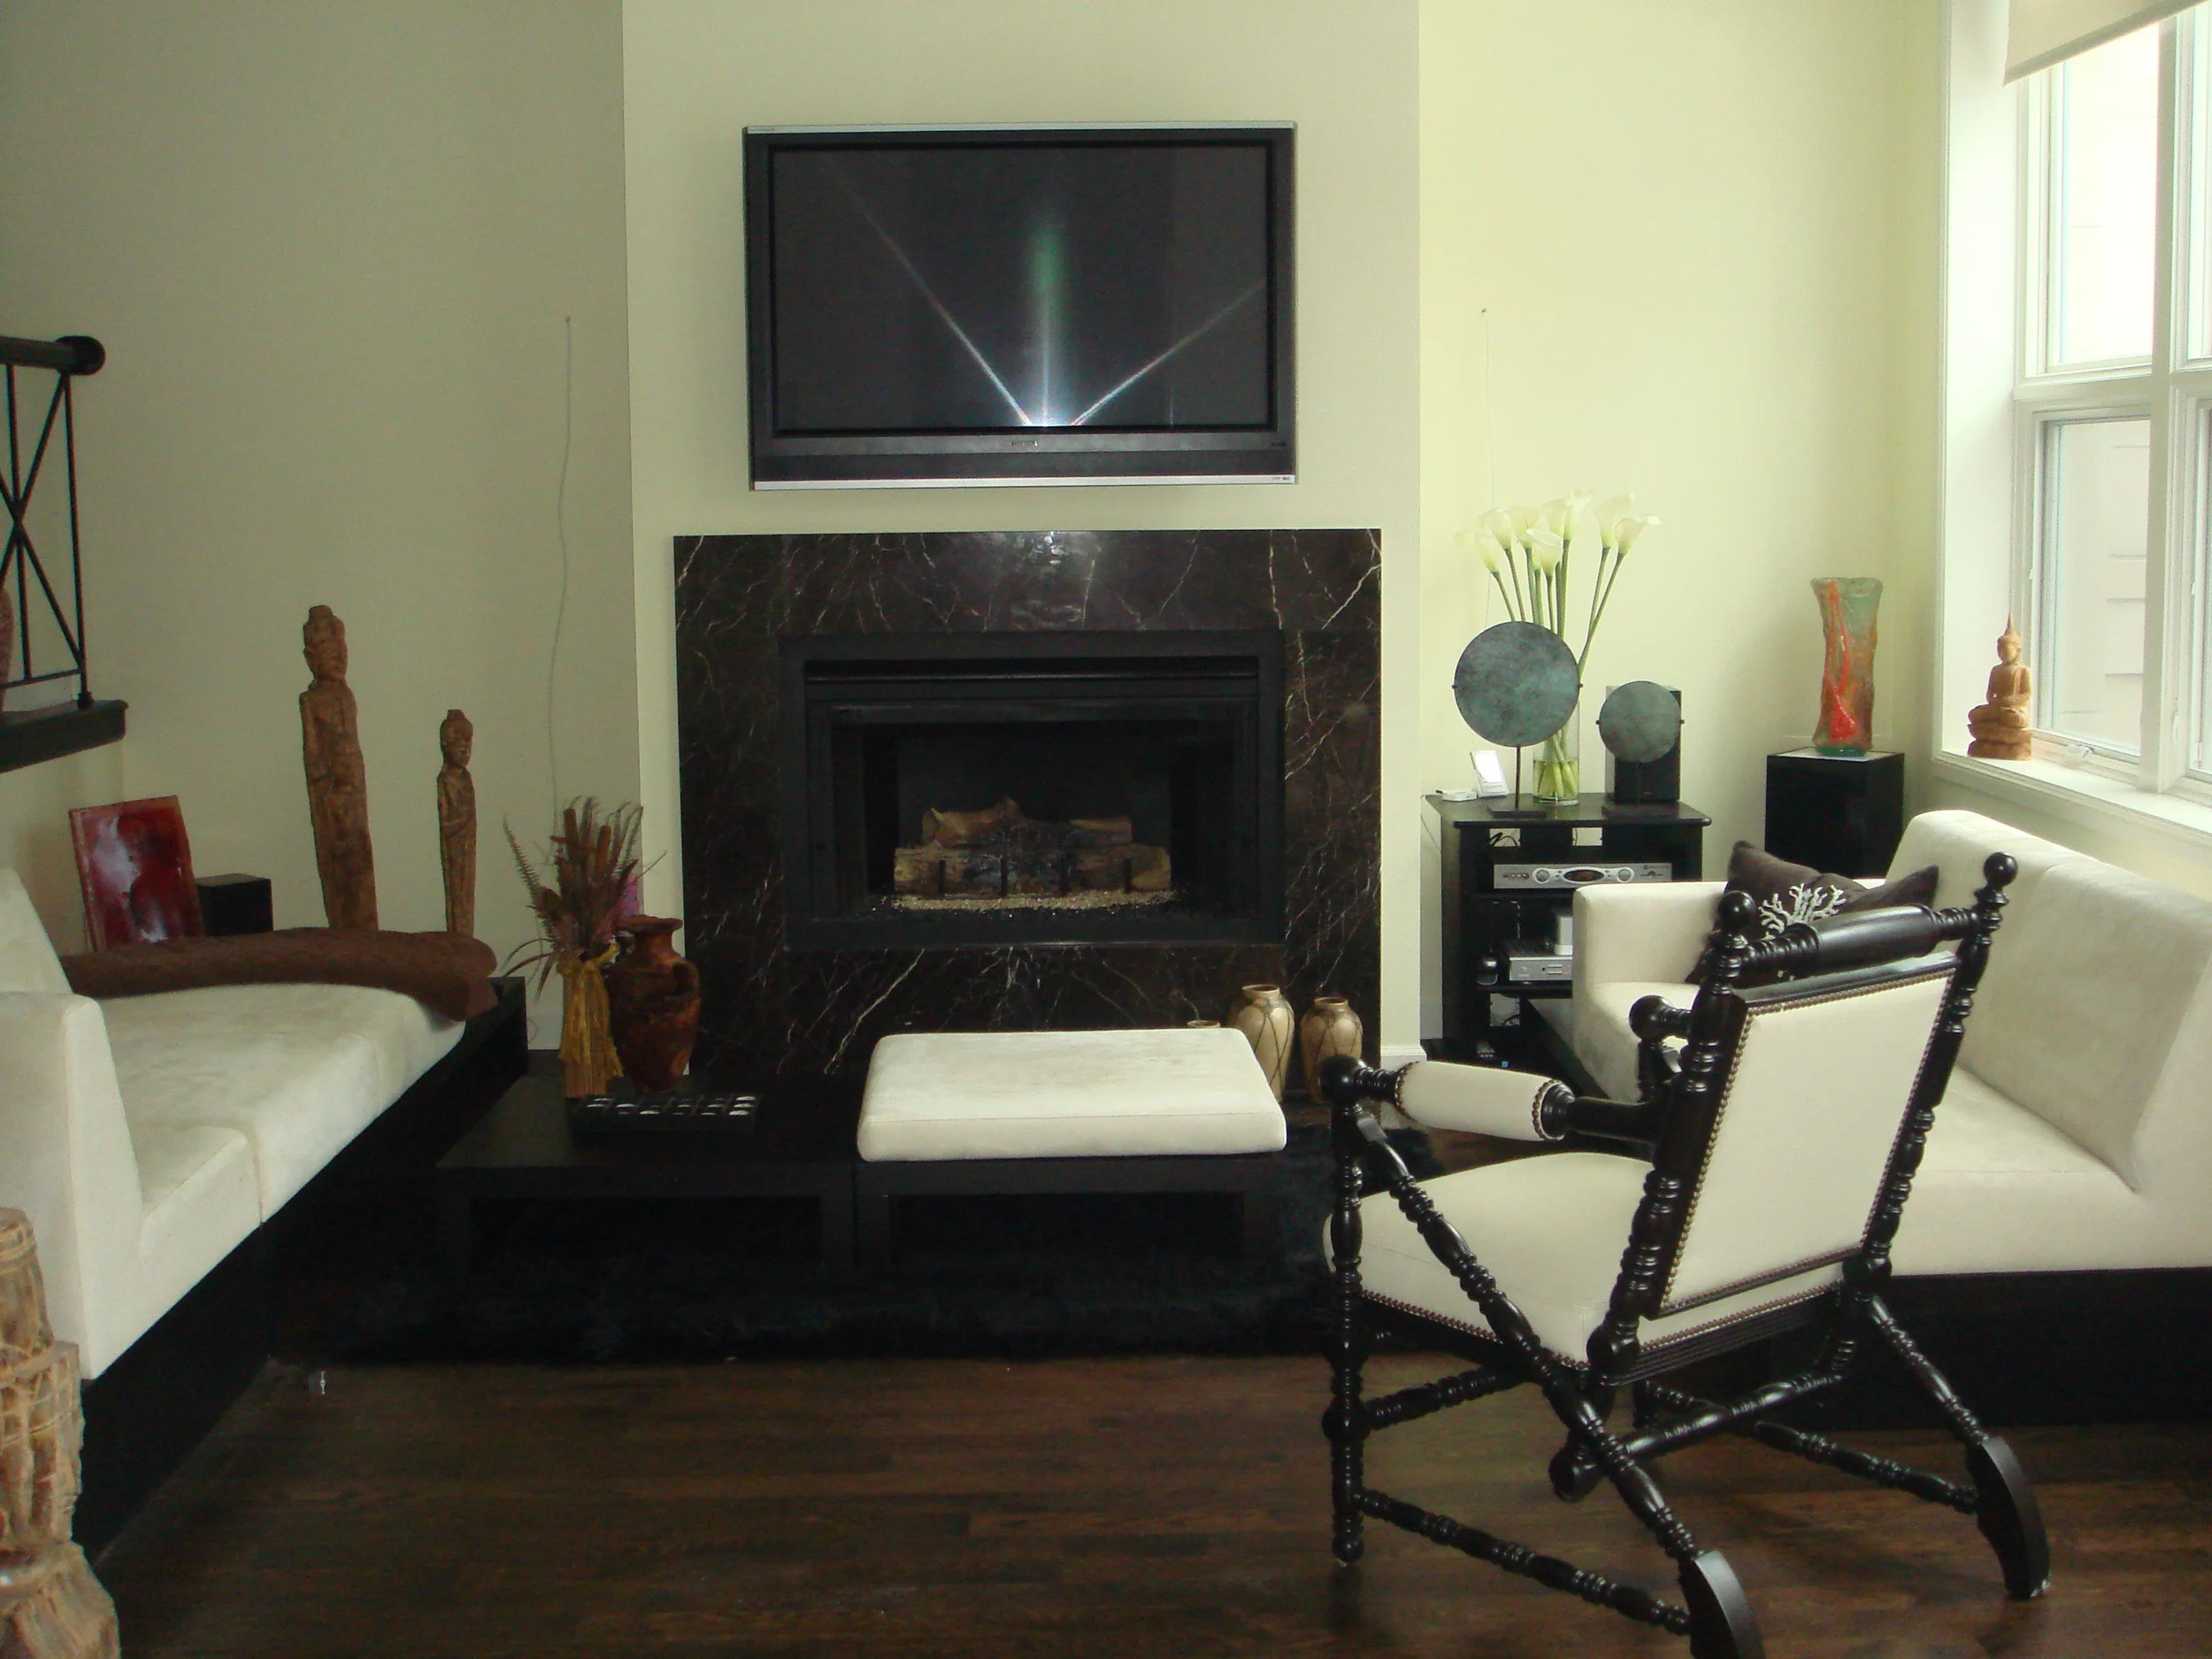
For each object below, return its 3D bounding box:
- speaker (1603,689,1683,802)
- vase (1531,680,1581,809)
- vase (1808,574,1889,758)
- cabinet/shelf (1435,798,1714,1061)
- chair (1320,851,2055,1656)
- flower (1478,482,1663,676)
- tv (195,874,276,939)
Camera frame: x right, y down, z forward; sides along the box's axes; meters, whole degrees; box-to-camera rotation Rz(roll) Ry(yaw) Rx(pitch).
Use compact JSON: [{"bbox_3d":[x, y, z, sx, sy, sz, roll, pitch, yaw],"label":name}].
[{"bbox_3d":[1.578,-0.254,5.584,0.237,0.367,0.166,2,14,12],"label":"speaker"},{"bbox_3d":[1.364,-0.222,5.701,0.166,0.268,0.426,2,14,13],"label":"vase"},{"bbox_3d":[2.178,-0.486,5.575,0.177,0.502,0.225,4,14,19],"label":"vase"},{"bbox_3d":[1.407,0.343,5.657,0.705,0.724,0.556,1,4,8],"label":"cabinet/shelf"},{"bbox_3d":[1.037,0.610,3.520,1.047,1.622,1.260,-3,5,-37],"label":"chair"},{"bbox_3d":[1.494,-0.765,5.797,0.251,0.373,0.296,10,-13,-7],"label":"flower"},{"bbox_3d":[-2.545,0.231,5.505,0.144,0.151,0.146,-12,-5,22],"label":"tv"}]
